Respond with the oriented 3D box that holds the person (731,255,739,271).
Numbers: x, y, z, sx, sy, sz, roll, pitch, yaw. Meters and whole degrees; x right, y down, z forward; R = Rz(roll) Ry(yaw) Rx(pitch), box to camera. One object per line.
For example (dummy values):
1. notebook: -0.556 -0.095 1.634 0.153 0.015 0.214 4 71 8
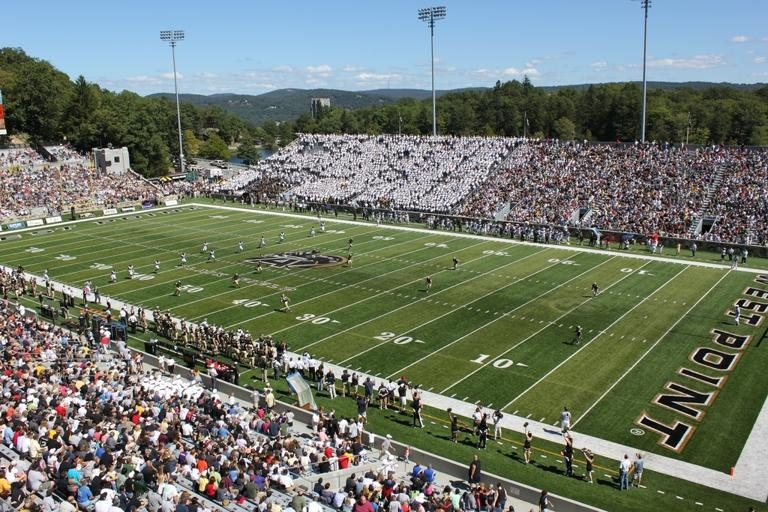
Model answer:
1. person: 26.721 0.575 52.178 0.726 1.171 0.519 37 -22 -32
